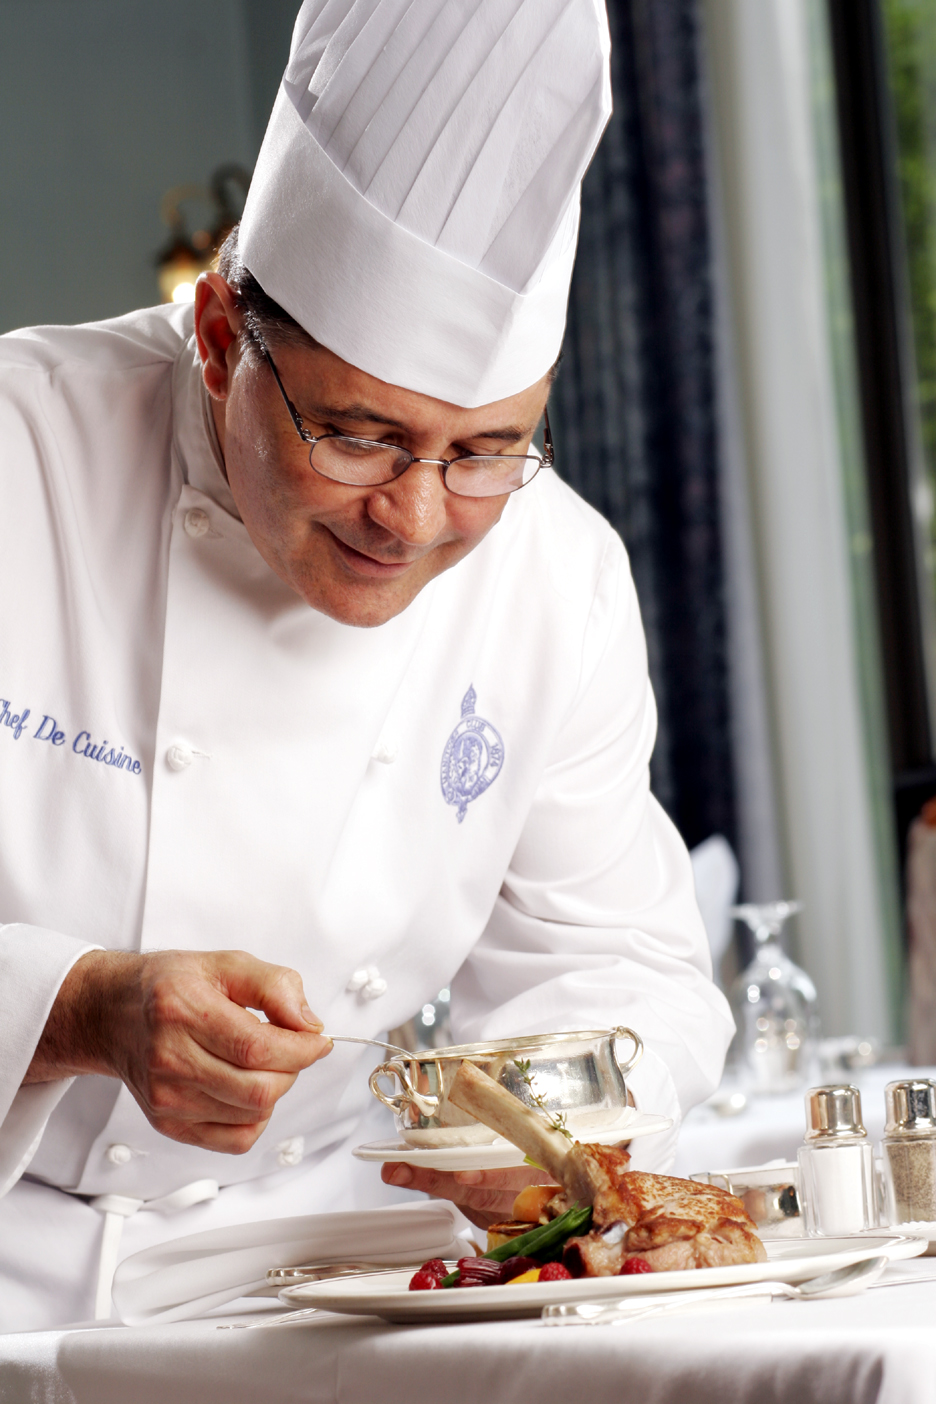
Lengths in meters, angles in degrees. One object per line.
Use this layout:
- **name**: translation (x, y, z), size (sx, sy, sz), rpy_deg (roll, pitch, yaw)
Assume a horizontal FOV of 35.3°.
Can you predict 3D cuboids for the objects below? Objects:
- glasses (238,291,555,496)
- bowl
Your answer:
- **glasses**: translation (-0.069, -0.222, 1.078), size (0.212, 0.156, 0.132), rpy_deg (-2, 9, 5)
- **bowl**: translation (0.017, 0.261, 0.919), size (0.153, 0.060, 0.151), rpy_deg (2, -20, 1)
